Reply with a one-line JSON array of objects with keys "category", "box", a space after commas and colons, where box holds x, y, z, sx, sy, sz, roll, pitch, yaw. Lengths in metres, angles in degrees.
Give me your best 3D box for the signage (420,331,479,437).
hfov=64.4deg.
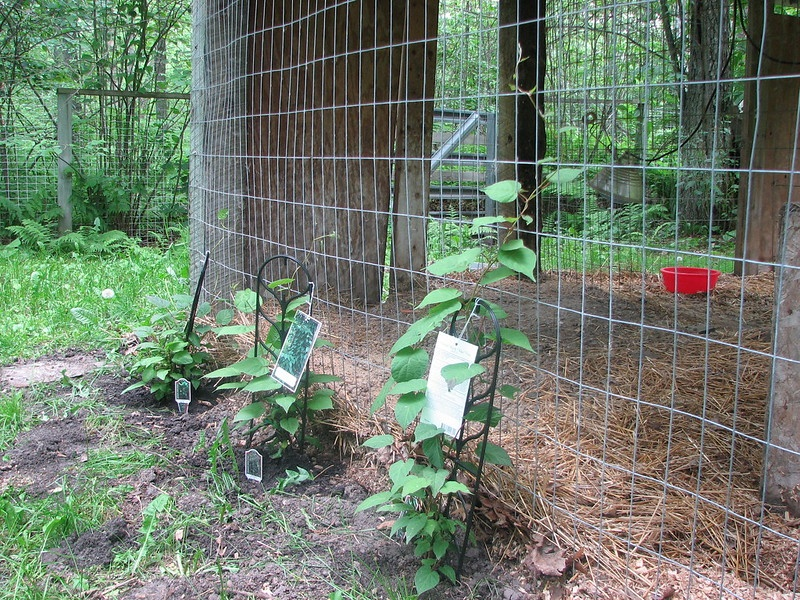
[{"category": "signage", "box": [0.185, 0.353, 2.358, 0.178, 0.428, 0.173, -3, 13, -17]}]
